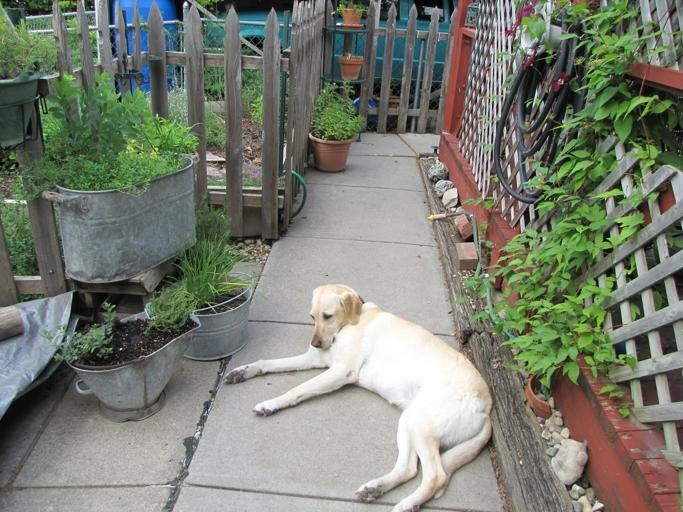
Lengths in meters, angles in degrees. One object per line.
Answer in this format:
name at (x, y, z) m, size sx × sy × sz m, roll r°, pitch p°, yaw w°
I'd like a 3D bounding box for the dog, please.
dog at (0.184, 0.748, 3.026) m, size 1.416 × 0.751 × 0.942 m, roll 18°, pitch 29°, yaw 31°
